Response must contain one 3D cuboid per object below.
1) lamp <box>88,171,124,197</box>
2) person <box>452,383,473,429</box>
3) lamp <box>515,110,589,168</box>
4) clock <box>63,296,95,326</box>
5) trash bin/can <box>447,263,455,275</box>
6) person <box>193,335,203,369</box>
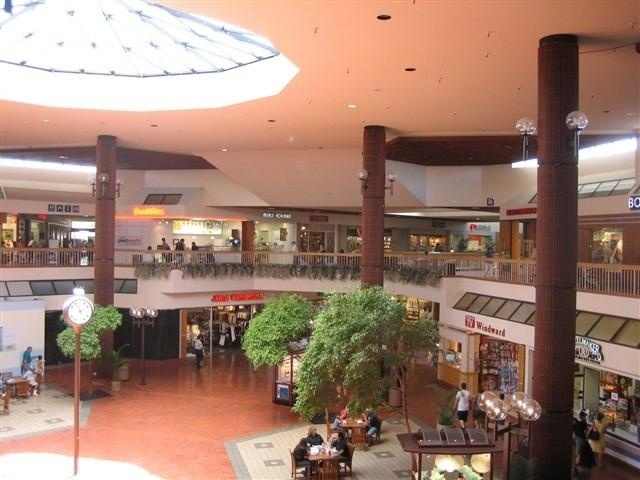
[{"bbox_3d":[-10.387,-2.694,26.965,1.888,1.415,1.324,1,2,-5],"label":"lamp"},{"bbox_3d":[4.945,5.840,19.730,0.532,1.745,1.090,2,4,22],"label":"person"},{"bbox_3d":[5.821,-2.652,14.316,1.739,1.281,0.538,1,13,40],"label":"lamp"},{"bbox_3d":[-7.257,2.139,16.839,0.710,0.944,0.658,-1,4,-21],"label":"clock"},{"bbox_3d":[5.620,1.226,24.120,0.345,0.496,0.432,1,3,12],"label":"trash bin/can"},{"bbox_3d":[-6.381,5.704,29.523,0.561,1.431,2.243,0,3,-13],"label":"person"}]
